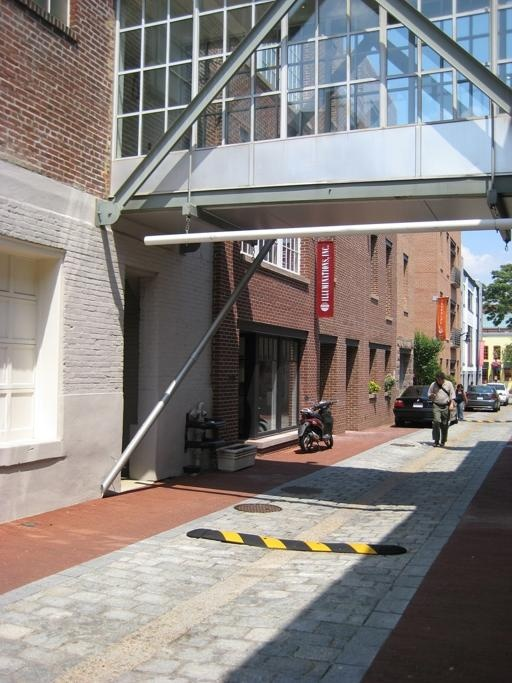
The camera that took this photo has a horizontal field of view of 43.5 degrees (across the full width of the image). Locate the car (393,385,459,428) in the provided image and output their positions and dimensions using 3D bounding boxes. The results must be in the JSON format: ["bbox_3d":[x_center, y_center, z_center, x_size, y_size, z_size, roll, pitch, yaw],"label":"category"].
[{"bbox_3d":[5.599,2.279,22.432,1.148,0.873,2.814,-1,0,21],"label":"car"}]
